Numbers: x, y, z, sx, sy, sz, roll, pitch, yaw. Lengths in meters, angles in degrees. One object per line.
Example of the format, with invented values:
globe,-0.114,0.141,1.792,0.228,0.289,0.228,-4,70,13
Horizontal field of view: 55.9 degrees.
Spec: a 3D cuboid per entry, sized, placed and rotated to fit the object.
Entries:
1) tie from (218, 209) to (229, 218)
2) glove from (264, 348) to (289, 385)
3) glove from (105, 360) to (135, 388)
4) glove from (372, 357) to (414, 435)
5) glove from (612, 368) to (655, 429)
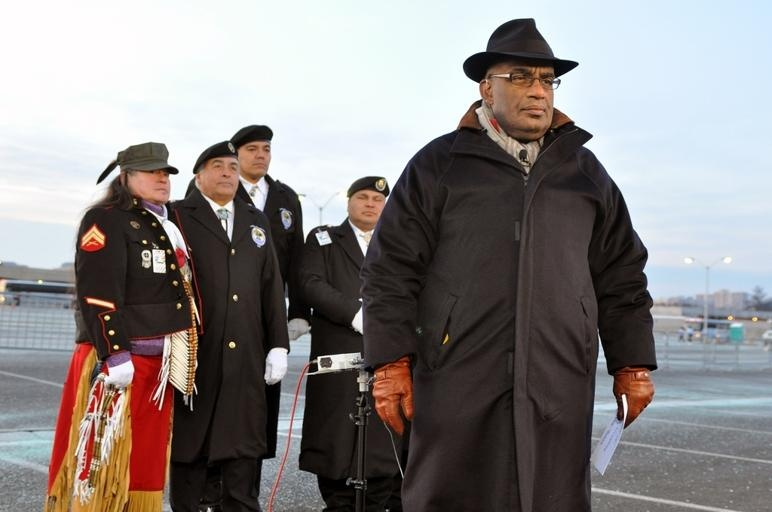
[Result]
tie,-1.362,-0.354,6.129,0.064,0.085,0.021,2,-15,-21
glove,-0.946,0.932,6.118,0.222,0.282,0.084,10,-2,-30
glove,-1.869,0.855,5.228,0.113,0.201,0.235,-1,-5,37
glove,0.037,0.800,4.181,0.228,0.438,0.211,3,-4,-7
glove,1.440,0.801,4.299,0.213,0.375,0.186,3,22,25
